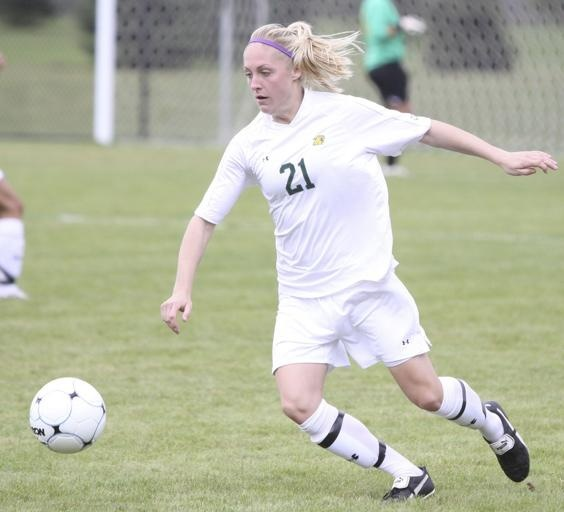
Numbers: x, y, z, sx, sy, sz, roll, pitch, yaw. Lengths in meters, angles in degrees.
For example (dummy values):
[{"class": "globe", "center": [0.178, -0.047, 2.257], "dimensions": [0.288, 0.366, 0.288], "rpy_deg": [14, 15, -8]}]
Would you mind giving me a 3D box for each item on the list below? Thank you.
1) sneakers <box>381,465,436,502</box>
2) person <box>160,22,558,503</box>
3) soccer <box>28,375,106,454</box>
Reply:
[{"class": "sneakers", "center": [0.601, 1.084, 5.357], "dimensions": [0.277, 0.115, 0.099], "rpy_deg": [-13, 3, -23]}, {"class": "person", "center": [0.319, 0.027, 5.281], "dimensions": [1.598, 2.090, 0.661], "rpy_deg": [10, 17, 14]}, {"class": "soccer", "center": [-1.006, 0.781, 5.470], "dimensions": [0.359, 0.343, 0.342], "rpy_deg": [4, -14, -1]}]
